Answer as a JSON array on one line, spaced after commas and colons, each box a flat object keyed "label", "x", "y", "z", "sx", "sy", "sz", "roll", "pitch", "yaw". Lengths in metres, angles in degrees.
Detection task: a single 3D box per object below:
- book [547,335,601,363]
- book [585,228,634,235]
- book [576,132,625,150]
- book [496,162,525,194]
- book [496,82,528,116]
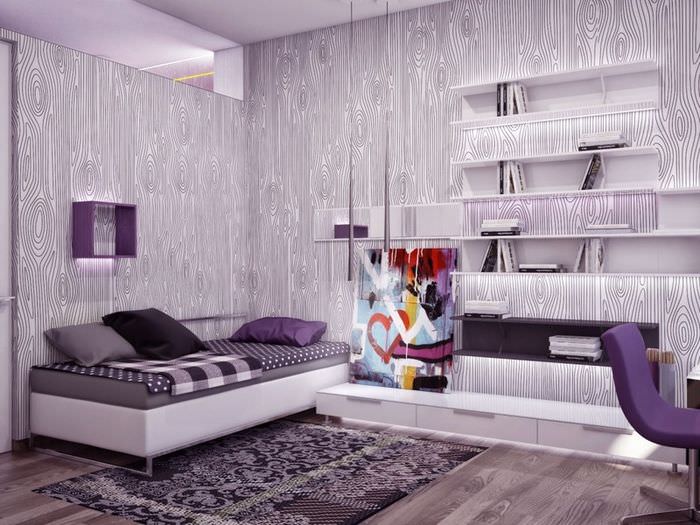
[{"label": "book", "x": 1.743, "y": 0.658, "z": 4.093, "sx": 0.367, "sy": 0.199, "sz": 0.224, "roll": 0, "pitch": 0, "yaw": 27}, {"label": "book", "x": 1.941, "y": -0.221, "z": 3.965, "sx": 0.321, "sy": 0.051, "sz": 0.087, "roll": 0, "pitch": 0, "yaw": 23}, {"label": "book", "x": 1.897, "y": -0.908, "z": 4.003, "sx": 0.229, "sy": 0.086, "sz": 0.184, "roll": 3, "pitch": 6, "yaw": 33}, {"label": "book", "x": 1.348, "y": -0.662, "z": 4.427, "sx": 0.212, "sy": 0.406, "sz": 0.404, "roll": 0, "pitch": 3, "yaw": 21}, {"label": "book", "x": 1.364, "y": -1.291, "z": 4.476, "sx": 0.238, "sy": 0.332, "sz": 0.331, "roll": 1, "pitch": 4, "yaw": 23}]
